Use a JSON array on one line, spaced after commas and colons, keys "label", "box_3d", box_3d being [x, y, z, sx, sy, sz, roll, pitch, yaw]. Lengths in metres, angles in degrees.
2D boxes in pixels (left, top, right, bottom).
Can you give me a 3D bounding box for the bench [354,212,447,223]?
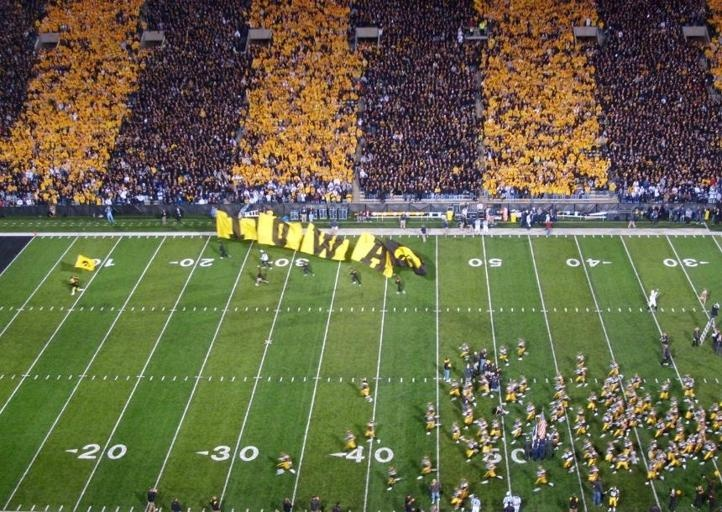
[{"label": "bench", "box_3d": [2.518, -2.207, 44.727, 4.027, 0.460, 0.663, 1, 80, 0]}]
